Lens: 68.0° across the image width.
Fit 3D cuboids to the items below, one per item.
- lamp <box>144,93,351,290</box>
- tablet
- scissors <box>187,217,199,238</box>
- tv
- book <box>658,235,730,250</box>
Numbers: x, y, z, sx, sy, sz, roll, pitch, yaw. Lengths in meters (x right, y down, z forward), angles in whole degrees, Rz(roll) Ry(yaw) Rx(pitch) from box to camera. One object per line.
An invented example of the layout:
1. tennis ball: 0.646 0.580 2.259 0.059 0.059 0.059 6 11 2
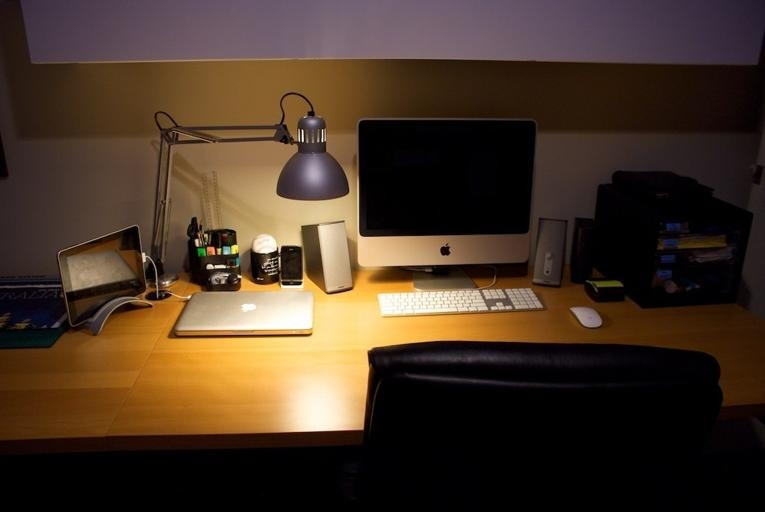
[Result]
1. lamp: -0.550 -0.278 2.272 0.750 0.647 0.227 1 25 -1
2. tablet: -1.022 0.058 2.099 0.351 0.255 0.030 -20 -9 13
3. scissors: -0.762 -0.115 2.293 0.023 0.089 0.021 -16 -36 34
4. tv: 0.247 -0.227 2.230 0.667 0.584 0.239 -1 17 -5
5. book: 1.171 -0.053 2.144 0.283 0.051 0.013 -3 20 -7
